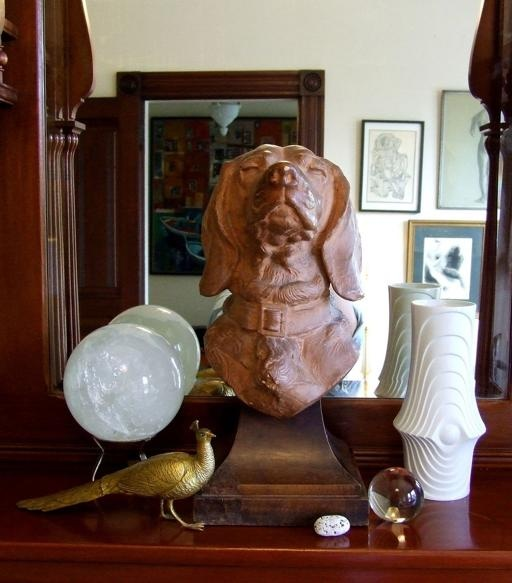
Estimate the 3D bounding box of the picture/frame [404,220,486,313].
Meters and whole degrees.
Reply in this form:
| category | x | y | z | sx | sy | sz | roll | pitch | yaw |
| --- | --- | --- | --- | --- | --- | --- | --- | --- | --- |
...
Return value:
| category | x | y | z | sx | sy | sz | roll | pitch | yaw |
| --- | --- | --- | --- | --- | --- | --- | --- | --- | --- |
| picture/frame | 0.296 | -0.046 | 1.052 | 0.163 | 0.183 | 0.007 | 0 | 5 | -6 |

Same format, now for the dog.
| category | x | y | z | sx | sy | sz | roll | pitch | yaw |
| --- | --- | --- | --- | --- | --- | --- | --- | --- | --- |
| dog | 0.028 | -0.008 | 0.852 | 0.215 | 0.359 | 0.187 | 1 | 9 | 8 |
